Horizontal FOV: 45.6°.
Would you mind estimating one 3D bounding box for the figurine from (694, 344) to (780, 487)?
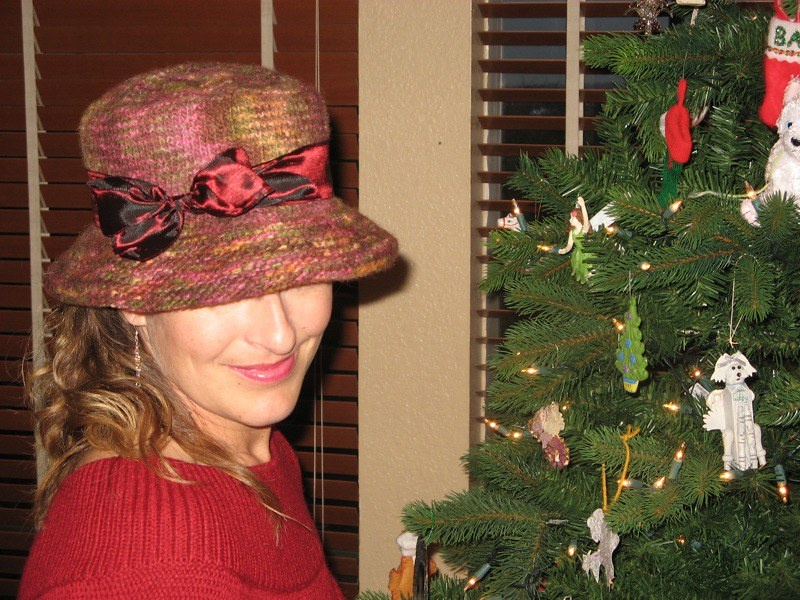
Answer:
[{"bbox_3d":[0.565,0.190,1.609,0.098,0.202,0.058,0,8,16],"label":"figurine"}]

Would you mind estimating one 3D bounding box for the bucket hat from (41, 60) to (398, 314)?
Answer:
[{"bbox_3d":[-0.254,-0.176,1.586,0.484,0.229,0.467,7,23,29],"label":"bucket hat"}]
